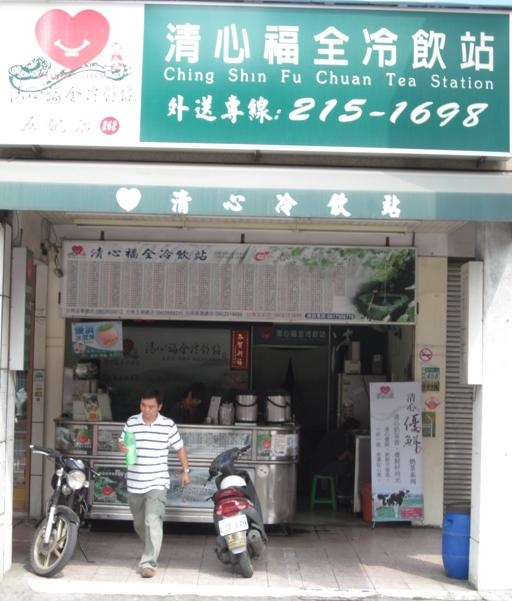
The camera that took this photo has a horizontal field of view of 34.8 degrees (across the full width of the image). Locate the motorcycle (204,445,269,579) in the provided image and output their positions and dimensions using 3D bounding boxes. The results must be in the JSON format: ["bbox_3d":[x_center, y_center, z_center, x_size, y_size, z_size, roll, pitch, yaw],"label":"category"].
[{"bbox_3d":[-0.160,1.799,6.931,0.488,0.961,0.850,1,-1,-4],"label":"motorcycle"}]

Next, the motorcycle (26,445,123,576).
[{"bbox_3d":[-1.507,1.824,7.091,0.556,0.726,1.174,16,-2,-3],"label":"motorcycle"}]

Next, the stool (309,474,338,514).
[{"bbox_3d":[0.725,2.224,9.592,0.386,0.547,0.383,0,-3,-7],"label":"stool"}]

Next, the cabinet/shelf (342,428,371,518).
[{"bbox_3d":[1.158,1.911,9.008,0.201,0.903,0.583,1,-1,7],"label":"cabinet/shelf"}]

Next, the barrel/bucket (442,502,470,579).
[{"bbox_3d":[1.676,1.999,6.768,0.251,0.585,0.233,1,-1,0],"label":"barrel/bucket"}]

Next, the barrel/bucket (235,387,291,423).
[{"bbox_3d":[0.073,1.110,8.506,0.577,0.317,0.269,1,-1,-1],"label":"barrel/bucket"}]

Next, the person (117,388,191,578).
[{"bbox_3d":[-0.850,1.512,6.936,0.487,1.473,0.543,0,-2,43],"label":"person"}]
